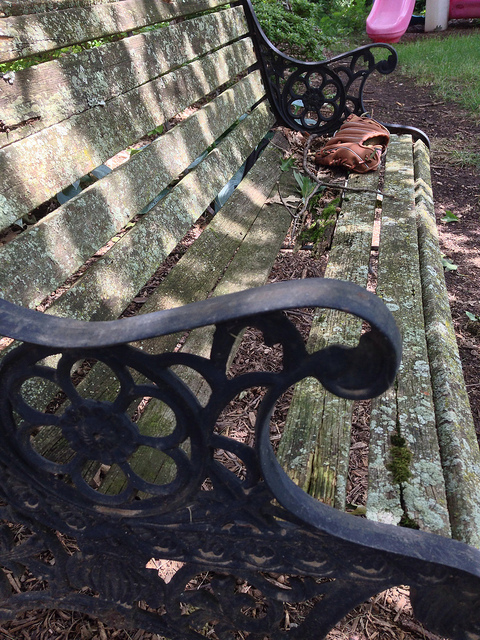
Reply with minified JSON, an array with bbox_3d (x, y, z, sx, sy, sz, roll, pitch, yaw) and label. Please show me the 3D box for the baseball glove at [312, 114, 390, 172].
[{"bbox_3d":[0.731,-1.119,3.156,0.389,0.184,0.521,16,51,16],"label":"baseball glove"}]
